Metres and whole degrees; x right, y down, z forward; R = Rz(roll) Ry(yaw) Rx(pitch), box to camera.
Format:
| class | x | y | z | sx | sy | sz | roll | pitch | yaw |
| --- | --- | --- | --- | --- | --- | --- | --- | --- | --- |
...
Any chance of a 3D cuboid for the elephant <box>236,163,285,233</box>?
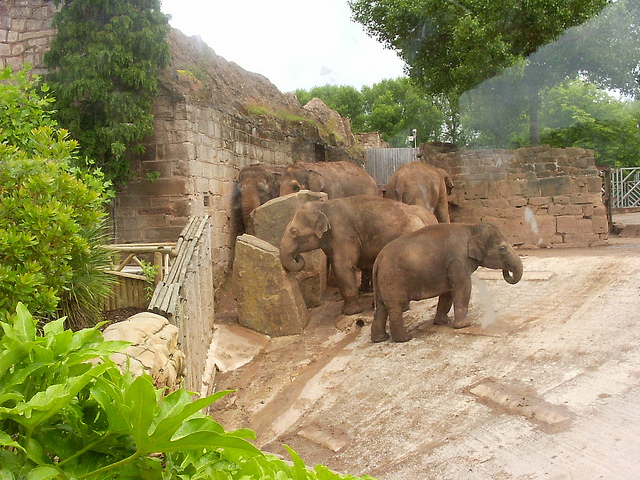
| class | x | y | z | sx | sy | sz | roll | pitch | yaw |
| --- | --- | --- | --- | --- | --- | --- | --- | --- | --- |
| elephant | -1.303 | -1.048 | 12.812 | 0.969 | 1.527 | 2.296 | 4 | 13 | 16 |

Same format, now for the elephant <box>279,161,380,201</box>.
| class | x | y | z | sx | sy | sz | roll | pitch | yaw |
| --- | --- | --- | --- | --- | --- | --- | --- | --- | --- |
| elephant | 0.177 | -1.344 | 12.105 | 2.292 | 0.885 | 0.989 | -6 | -1 | -37 |

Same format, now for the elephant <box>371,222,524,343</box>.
| class | x | y | z | sx | sy | sz | roll | pitch | yaw |
| --- | --- | --- | --- | --- | --- | --- | --- | --- | --- |
| elephant | 1.698 | 0.455 | 7.095 | 1.986 | 1.577 | 0.872 | -7 | 17 | -8 |

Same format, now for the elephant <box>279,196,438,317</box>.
| class | x | y | z | sx | sy | sz | roll | pitch | yaw |
| --- | --- | --- | --- | --- | --- | --- | --- | --- | --- |
| elephant | 0.619 | 0.174 | 8.983 | 2.581 | 1.981 | 1.078 | -1 | 22 | 6 |
